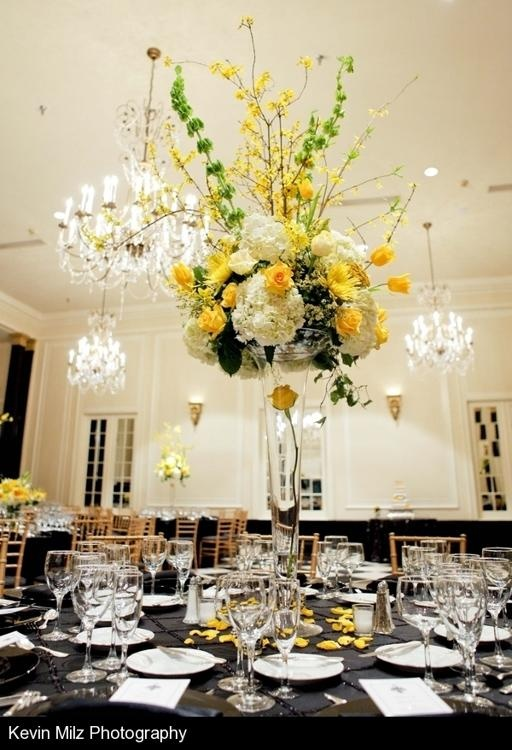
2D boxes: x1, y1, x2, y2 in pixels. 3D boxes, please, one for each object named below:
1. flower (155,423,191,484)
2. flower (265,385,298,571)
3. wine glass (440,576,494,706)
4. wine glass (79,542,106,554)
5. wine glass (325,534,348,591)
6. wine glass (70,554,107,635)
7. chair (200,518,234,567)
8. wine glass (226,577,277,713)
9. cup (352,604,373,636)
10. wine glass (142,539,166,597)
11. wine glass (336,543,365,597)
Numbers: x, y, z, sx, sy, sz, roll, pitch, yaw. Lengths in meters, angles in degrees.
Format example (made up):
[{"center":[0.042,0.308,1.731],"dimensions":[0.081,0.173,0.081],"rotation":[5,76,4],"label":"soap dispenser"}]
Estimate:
[{"center":[-1.392,1.298,8.783],"dimensions":[0.578,0.998,1.067],"rotation":[3,-13,-11],"label":"flower"},{"center":[0.062,0.245,1.195],"dimensions":[0.082,0.400,0.055],"rotation":[-1,-14,5],"label":"flower"},{"center":[0.369,0.459,0.925],"dimensions":[0.087,0.199,0.307],"rotation":[-5,-14,19],"label":"wine glass"},{"center":[-0.488,0.507,1.547],"dimensions":[0.054,0.050,0.053],"rotation":[1,-21,-1],"label":"wine glass"},{"center":[0.294,0.698,1.937],"dimensions":[0.094,0.205,0.081],"rotation":[-7,2,-29],"label":"wine glass"},{"center":[-0.376,0.474,1.144],"dimensions":[0.076,0.164,0.069],"rotation":[2,-9,-11],"label":"wine glass"},{"center":[-0.552,2.302,7.278],"dimensions":[0.473,0.626,0.473],"rotation":[-8,-20,22],"label":"chair"},{"center":[-0.014,0.462,0.925],"dimensions":[0.092,0.198,0.255],"rotation":[1,-13,-3],"label":"wine glass"},{"center":[0.285,0.645,1.387],"dimensions":[0.050,0.069,0.069],"rotation":[-3,-14,14],"label":"cup"},{"center":[-0.380,0.703,1.913],"dimensions":[0.097,0.235,0.090],"rotation":[2,1,-9],"label":"wine glass"},{"center":[0.361,0.735,1.999],"dimensions":[0.103,0.207,0.099],"rotation":[0,-1,23],"label":"wine glass"}]
